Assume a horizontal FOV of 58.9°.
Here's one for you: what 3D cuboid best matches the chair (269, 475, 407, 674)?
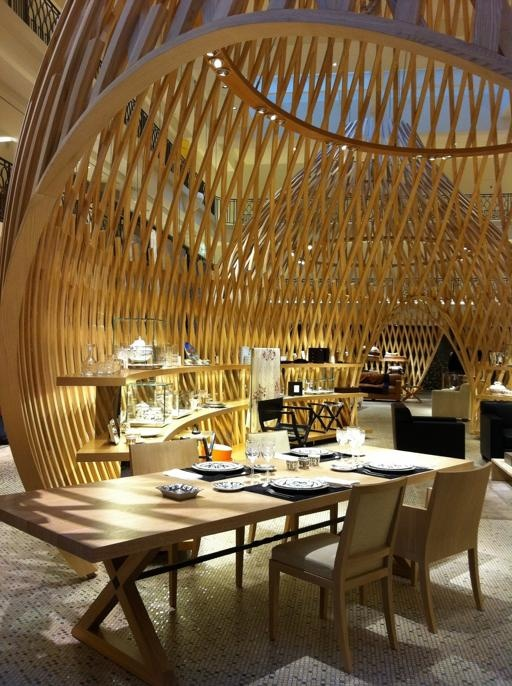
[{"bbox_3d":[0.374,1.012,2.078,0.384,0.912,0.474,7,-4,-43],"label":"chair"}]

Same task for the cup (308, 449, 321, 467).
[{"bbox_3d":[0.358,0.707,2.773,0.058,0.067,0.076,-2,4,-21],"label":"cup"}]

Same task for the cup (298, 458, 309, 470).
[{"bbox_3d":[0.271,0.701,2.619,0.040,0.059,0.048,-1,-3,15],"label":"cup"}]

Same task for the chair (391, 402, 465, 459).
[{"bbox_3d":[2.357,1.037,6.392,0.773,1.179,0.818,-1,-1,7],"label":"chair"}]

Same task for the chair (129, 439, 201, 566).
[{"bbox_3d":[-0.620,1.099,2.989,0.411,0.609,0.900,1,-27,-12],"label":"chair"}]

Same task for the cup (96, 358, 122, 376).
[{"bbox_3d":[-1.111,0.176,3.374,0.096,0.133,0.099,0,0,0],"label":"cup"}]

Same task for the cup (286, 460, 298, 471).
[{"bbox_3d":[0.203,0.709,2.610,0.046,0.048,0.046,-1,-3,0],"label":"cup"}]

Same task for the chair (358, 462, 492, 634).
[{"bbox_3d":[0.967,1.053,2.520,0.533,0.872,0.528,-3,4,-41],"label":"chair"}]
